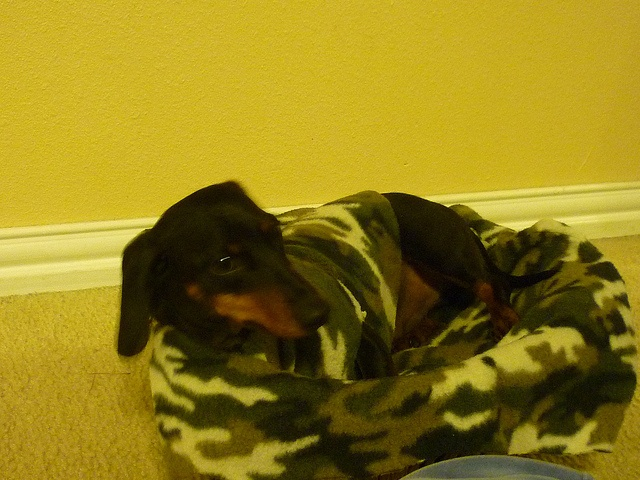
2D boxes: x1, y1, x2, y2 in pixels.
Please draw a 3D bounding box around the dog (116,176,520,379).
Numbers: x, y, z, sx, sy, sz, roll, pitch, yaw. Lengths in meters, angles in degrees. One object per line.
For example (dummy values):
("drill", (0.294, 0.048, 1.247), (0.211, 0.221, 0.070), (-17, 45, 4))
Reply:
("dog", (-0.042, 0.044, 1.081), (0.383, 0.158, 0.456), (2, 7, 17))
